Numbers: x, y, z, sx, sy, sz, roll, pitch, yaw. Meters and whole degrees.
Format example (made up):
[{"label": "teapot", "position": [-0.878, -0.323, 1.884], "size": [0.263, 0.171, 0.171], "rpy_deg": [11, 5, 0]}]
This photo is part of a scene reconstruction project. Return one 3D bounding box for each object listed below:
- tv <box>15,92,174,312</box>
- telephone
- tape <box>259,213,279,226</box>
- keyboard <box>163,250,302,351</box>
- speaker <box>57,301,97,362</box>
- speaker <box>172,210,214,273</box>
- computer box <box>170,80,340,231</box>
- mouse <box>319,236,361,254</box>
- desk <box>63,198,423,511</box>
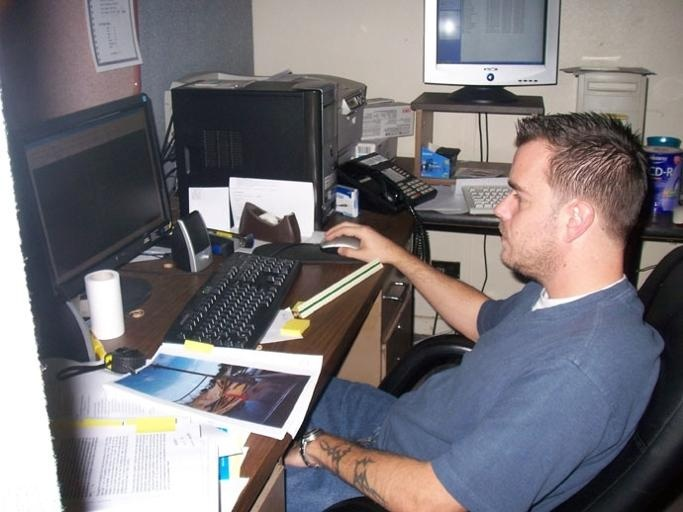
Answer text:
[{"label": "tv", "position": [-0.586, -0.119, 1.343], "size": [0.106, 0.424, 0.478], "rpy_deg": [3, 25, 17]}, {"label": "telephone", "position": [0.154, -0.276, 2.109], "size": [0.243, 0.131, 0.333], "rpy_deg": [27, 28, 21]}, {"label": "tape", "position": [-0.227, -0.119, 1.783], "size": [0.040, 0.014, 0.041], "rpy_deg": [25, 13, -3]}, {"label": "keyboard", "position": [-0.280, 0.151, 1.408], "size": [0.219, 0.076, 0.443], "rpy_deg": [0, 10, -3]}, {"label": "speaker", "position": [-0.582, 0.162, 1.238], "size": [0.064, 0.128, 0.097], "rpy_deg": [-11, 20, -25]}, {"label": "speaker", "position": [-0.424, -0.036, 1.615], "size": [0.103, 0.182, 0.122], "rpy_deg": [5, 24, 10]}, {"label": "computer box", "position": [-0.353, -0.238, 1.924], "size": [0.524, 0.540, 0.314], "rpy_deg": [0, -25, -23]}, {"label": "mouse", "position": [0.000, -0.034, 1.684], "size": [0.092, 0.024, 0.051], "rpy_deg": [0, 16, 1]}, {"label": "desk", "position": [-0.204, 0.122, 1.564], "size": [0.536, 0.626, 1.021], "rpy_deg": [7, 29, 14]}]
